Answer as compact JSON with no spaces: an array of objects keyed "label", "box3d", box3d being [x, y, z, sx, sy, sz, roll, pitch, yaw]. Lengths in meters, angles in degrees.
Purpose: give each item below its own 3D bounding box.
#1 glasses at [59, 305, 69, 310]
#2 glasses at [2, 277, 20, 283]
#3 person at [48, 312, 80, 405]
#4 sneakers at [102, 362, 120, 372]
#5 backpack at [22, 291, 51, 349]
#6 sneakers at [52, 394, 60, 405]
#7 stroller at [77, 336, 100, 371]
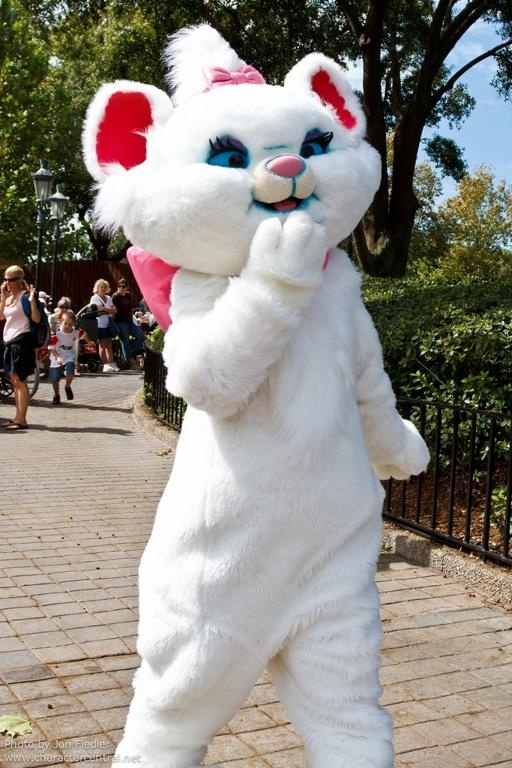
[{"label":"glasses","box3d":[-3.367,-1.334,13.384,0.118,0.103,0.120,8,9,39]},{"label":"glasses","box3d":[-3.140,-1.342,9.782,0.172,0.078,0.174,1,5,-15]},{"label":"person","box3d":[-3.267,-0.453,12.806,0.480,1.580,1.067,1,5,-14]},{"label":"sneakers","box3d":[-3.414,-0.384,17.668,0.203,0.140,0.378,0,-4,-30]},{"label":"backpack","box3d":[-2.912,-0.941,9.779,0.376,0.521,0.555,-15,37,-7]},{"label":"sneakers","box3d":[-3.377,0.269,12.728,0.110,0.159,0.170,2,-10,-17]},{"label":"stroller","box3d":[-3.880,-0.654,17.619,0.633,0.688,0.753,-1,8,-16]}]
